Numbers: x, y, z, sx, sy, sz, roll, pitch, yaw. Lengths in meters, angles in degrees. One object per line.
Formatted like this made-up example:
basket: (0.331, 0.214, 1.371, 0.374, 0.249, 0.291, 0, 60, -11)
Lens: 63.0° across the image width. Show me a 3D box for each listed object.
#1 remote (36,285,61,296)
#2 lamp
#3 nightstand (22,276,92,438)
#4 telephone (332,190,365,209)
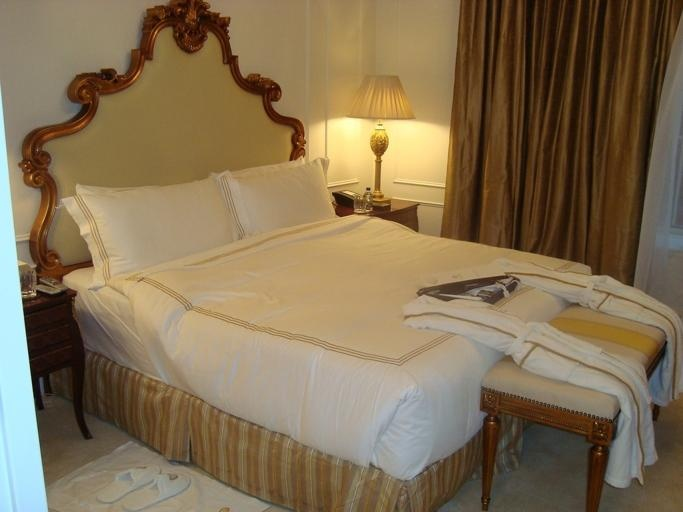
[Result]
remote: (-1.518, 0.171, 2.882, 0.092, 0.026, 0.053, 12, 15, 27)
lamp: (0.329, -1.036, 5.064, 0.550, 1.181, 0.564, 5, 18, 13)
nightstand: (-1.479, 0.585, 2.944, 0.280, 0.814, 0.207, -15, 22, -28)
telephone: (0.030, -0.494, 4.823, 0.194, 0.090, 0.148, 10, 20, 35)
